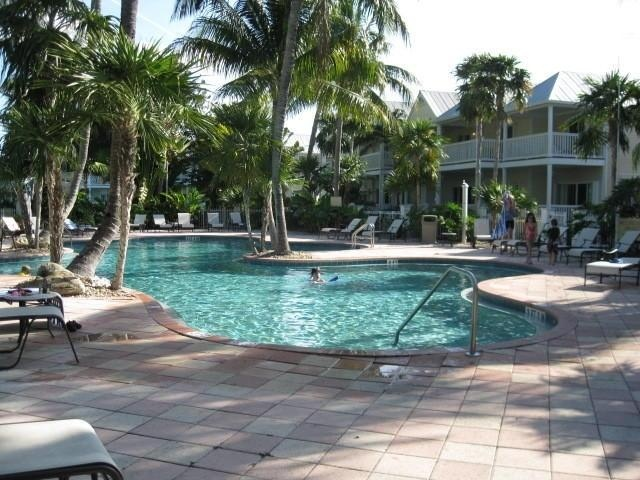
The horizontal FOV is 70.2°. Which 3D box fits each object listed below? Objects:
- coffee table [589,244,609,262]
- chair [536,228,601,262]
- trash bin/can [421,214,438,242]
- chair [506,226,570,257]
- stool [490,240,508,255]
[{"bbox_3d":[8.426,0.411,13.882,0.528,0.527,0.576,2,4,26],"label":"coffee table"},{"bbox_3d":[8.397,0.147,15.188,2.411,1.312,1.182,1,0,-33],"label":"chair"},{"bbox_3d":[5.315,-0.513,22.192,0.801,1.327,0.929,1,6,13],"label":"trash bin/can"},{"bbox_3d":[8.021,0.029,16.632,2.171,1.059,1.163,-1,1,-34],"label":"chair"},{"bbox_3d":[6.882,0.266,17.509,0.638,0.684,0.720,-2,-3,45],"label":"stool"}]
